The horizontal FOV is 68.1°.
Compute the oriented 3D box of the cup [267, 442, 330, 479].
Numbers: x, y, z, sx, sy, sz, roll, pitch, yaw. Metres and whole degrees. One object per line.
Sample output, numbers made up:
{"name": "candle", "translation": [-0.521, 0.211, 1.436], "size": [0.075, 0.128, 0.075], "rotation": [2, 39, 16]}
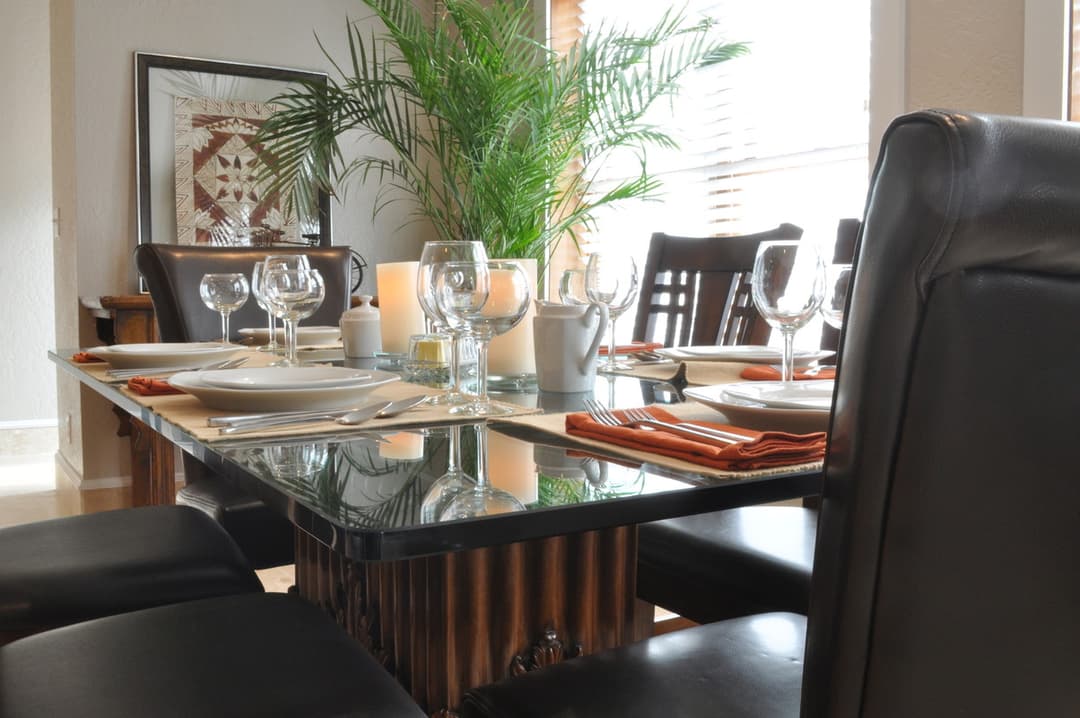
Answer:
{"name": "cup", "translation": [-0.242, 0.103, 0.795], "size": [0.023, 0.039, 0.041], "rotation": [0, -4, 18]}

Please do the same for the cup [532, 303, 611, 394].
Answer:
{"name": "cup", "translation": [0.045, -0.017, 1.207], "size": [0.128, 0.117, 0.073], "rotation": [7, 12, 41]}

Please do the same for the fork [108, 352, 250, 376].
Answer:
{"name": "fork", "translation": [-0.616, 0.008, 1.344], "size": [0.185, 0.023, 0.026], "rotation": [-6, -1, -14]}

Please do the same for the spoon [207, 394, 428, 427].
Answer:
{"name": "spoon", "translation": [-0.281, 0.064, 0.981], "size": [0.207, 0.028, 0.036], "rotation": [0, -2, -25]}

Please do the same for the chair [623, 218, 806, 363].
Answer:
{"name": "chair", "translation": [0.483, -0.158, 2.235], "size": [0.386, 0.587, 0.344], "rotation": [4, 0, -44]}

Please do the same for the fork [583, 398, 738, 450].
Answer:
{"name": "fork", "translation": [0.134, 0.072, 0.846], "size": [0.056, 0.015, 0.098], "rotation": [-6, 13, -40]}

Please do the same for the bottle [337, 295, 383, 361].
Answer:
{"name": "bottle", "translation": [-0.421, -0.067, 1.750], "size": [0.108, 0.140, 0.138], "rotation": [2, -5, -17]}

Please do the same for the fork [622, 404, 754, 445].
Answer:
{"name": "fork", "translation": [0.155, 0.055, 0.837], "size": [0.042, 0.016, 0.129], "rotation": [-3, 9, -37]}
